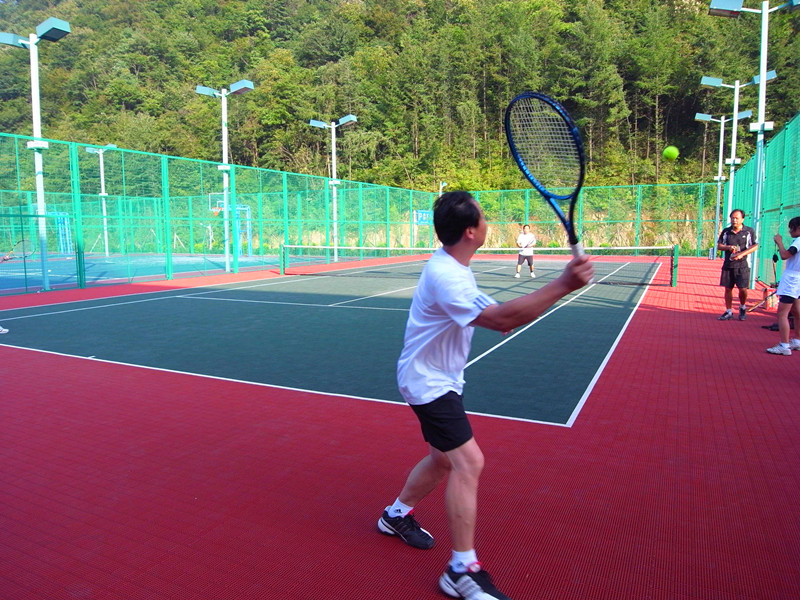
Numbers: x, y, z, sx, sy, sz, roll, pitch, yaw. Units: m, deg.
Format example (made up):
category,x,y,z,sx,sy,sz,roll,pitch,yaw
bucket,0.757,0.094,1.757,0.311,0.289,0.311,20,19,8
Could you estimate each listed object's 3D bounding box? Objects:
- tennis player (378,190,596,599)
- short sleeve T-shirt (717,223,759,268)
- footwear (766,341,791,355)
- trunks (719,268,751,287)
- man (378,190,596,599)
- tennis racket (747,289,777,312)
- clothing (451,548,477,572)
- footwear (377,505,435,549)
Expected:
category,x,y,z,sx,sy,sz,roll,pitch,yaw
tennis player,0.354,0.526,3.164,0.524,2.330,1.301,-5,6,-37
short sleeve T-shirt,6.002,-0.970,9.983,0.577,0.790,0.715,2,6,32
footwear,5.212,0.694,7.808,0.405,0.219,0.152,1,6,30
trunks,6.030,-0.400,10.083,0.409,0.390,0.327,1,5,26
man,0.354,0.526,3.163,0.519,2.330,1.302,-5,6,-38
tennis racket,7.666,0.033,11.852,0.482,0.373,0.499,-3,5,37
clothing,0.338,1.464,3.078,0.152,0.153,0.095,-3,2,-4
footwear,0.049,1.512,3.608,0.339,0.166,0.180,16,5,18
